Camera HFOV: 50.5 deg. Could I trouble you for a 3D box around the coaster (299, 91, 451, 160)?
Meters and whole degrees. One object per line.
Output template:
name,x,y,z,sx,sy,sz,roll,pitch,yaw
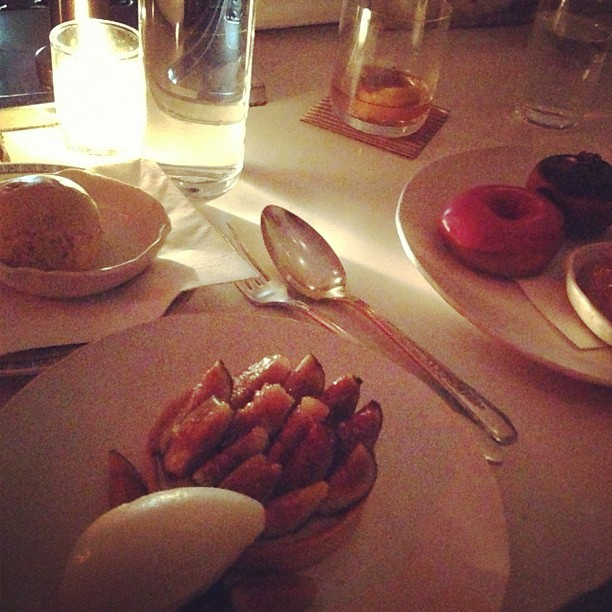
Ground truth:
coaster,0.074,-0.201,0.666,0.123,0.024,0.137,23,47,14

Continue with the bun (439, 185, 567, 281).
bun,0.131,-0.069,0.405,0.069,0.029,0.072,7,41,5

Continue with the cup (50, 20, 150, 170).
cup,-0.152,-0.151,0.470,0.062,0.069,0.055,2,33,-17

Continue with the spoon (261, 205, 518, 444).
spoon,0.010,-0.015,0.457,0.064,0.042,0.309,-4,43,-46
